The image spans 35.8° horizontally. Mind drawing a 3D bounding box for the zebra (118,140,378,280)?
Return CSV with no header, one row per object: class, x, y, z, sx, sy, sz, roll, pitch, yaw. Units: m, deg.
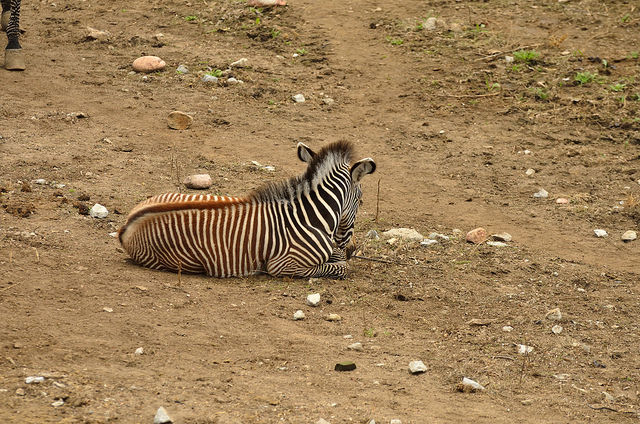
zebra,-0.987,0.163,12.753,3.829,1.546,1.156,-6,26,-39
